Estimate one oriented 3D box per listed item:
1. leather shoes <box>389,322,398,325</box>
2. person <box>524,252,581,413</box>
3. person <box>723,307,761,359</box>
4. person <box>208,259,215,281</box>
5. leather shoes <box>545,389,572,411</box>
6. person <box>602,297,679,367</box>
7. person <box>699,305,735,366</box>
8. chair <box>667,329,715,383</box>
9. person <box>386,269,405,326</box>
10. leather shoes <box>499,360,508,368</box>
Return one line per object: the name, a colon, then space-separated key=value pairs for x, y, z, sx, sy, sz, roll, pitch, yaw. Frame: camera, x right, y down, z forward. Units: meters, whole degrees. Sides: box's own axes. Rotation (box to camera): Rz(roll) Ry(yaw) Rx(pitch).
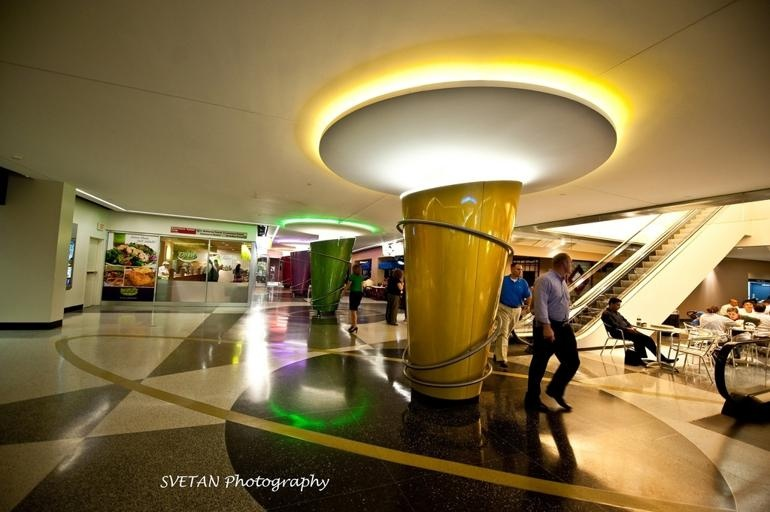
leather shoes: x=0.291 y=2.118 z=13.395 sx=0.258 sy=0.098 sz=0.082 roll=-2 pitch=-2 yaw=-14
person: x=2.840 y=1.241 z=7.107 sx=0.811 sy=2.532 sz=0.761 roll=3 pitch=9 yaw=8
person: x=7.759 y=1.648 z=9.241 sx=0.663 sy=0.967 sz=0.728 roll=-1 pitch=-2 yaw=31
person: x=-6.847 y=0.569 z=16.775 sx=0.260 sy=0.816 sz=0.172 roll=1 pitch=9 yaw=-5
leather shoes: x=2.918 y=2.421 z=7.163 sx=0.411 sy=0.249 sz=0.132 roll=31 pitch=3 yaw=-6
person: x=5.792 y=1.697 z=9.702 sx=0.614 sy=1.392 sz=1.420 roll=-9 pitch=5 yaw=-35
person: x=7.902 y=1.761 z=10.084 sx=0.524 sy=1.150 sz=0.658 roll=-9 pitch=-18 yaw=17
chair: x=6.651 y=2.058 z=9.131 sx=0.799 sy=0.859 sz=0.833 roll=7 pitch=8 yaw=9
person: x=0.293 y=1.228 z=13.236 sx=0.468 sy=1.874 sz=0.956 roll=2 pitch=9 yaw=1
leather shoes: x=2.506 y=2.265 z=8.978 sx=0.177 sy=0.112 sz=0.189 roll=5 pitch=9 yaw=17
